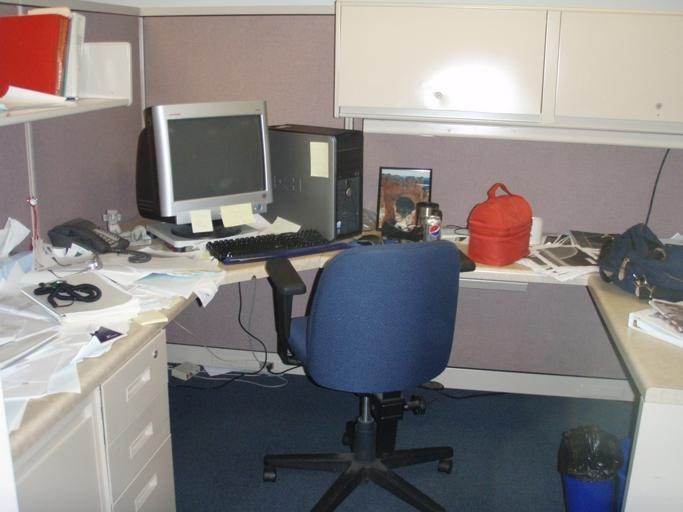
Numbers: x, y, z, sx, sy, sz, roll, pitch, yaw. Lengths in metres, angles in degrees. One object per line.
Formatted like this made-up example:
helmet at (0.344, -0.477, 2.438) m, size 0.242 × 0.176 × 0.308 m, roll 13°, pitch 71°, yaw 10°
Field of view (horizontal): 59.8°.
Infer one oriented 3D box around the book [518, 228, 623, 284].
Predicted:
book at (0.924, -0.006, 2.420) m, size 0.269 × 0.049 × 0.284 m, roll 18°, pitch 26°, yaw 42°

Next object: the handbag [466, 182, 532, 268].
handbag at (0.640, -0.154, 2.429) m, size 0.222 × 0.353 × 0.353 m, roll 17°, pitch 30°, yaw 41°

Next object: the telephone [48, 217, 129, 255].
telephone at (-0.931, -0.105, 2.210) m, size 0.212 × 0.077 × 0.154 m, roll 17°, pitch 11°, yaw 2°

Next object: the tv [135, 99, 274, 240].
tv at (-0.581, -0.330, 2.625) m, size 0.676 × 0.617 × 0.471 m, roll -12°, pitch 21°, yaw -42°
